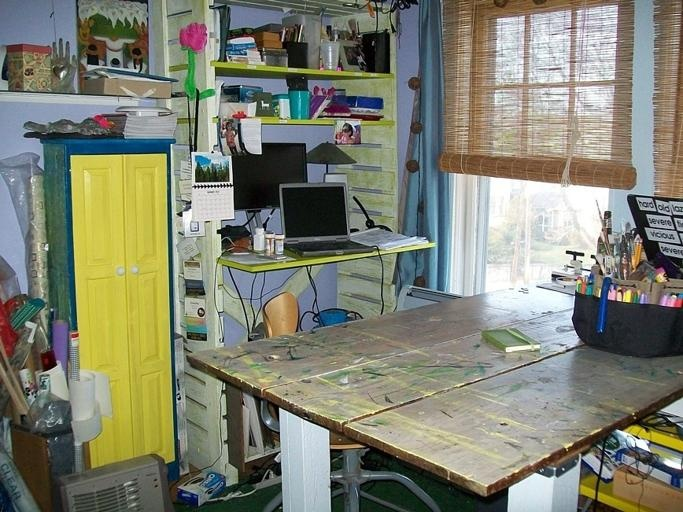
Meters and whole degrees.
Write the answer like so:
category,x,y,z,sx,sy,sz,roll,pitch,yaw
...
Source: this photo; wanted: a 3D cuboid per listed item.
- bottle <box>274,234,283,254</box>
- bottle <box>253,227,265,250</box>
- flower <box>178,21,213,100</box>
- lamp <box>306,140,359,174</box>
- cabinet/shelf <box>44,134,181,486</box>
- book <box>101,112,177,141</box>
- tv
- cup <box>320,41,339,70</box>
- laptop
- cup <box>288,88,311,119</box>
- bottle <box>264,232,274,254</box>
category,x,y,z,sx,sy,sz,roll,pitch,yaw
bottle,-0.372,-0.065,3.146,0.054,0.114,0.049,-5,16,-18
bottle,-0.501,-0.101,3.231,0.070,0.135,0.089,-3,15,-12
flower,-0.777,-1.037,2.832,0.216,0.394,0.091,13,20,41
lamp,-0.086,-0.687,3.676,0.227,0.177,0.228,12,18,36
cabinet/shelf,-1.098,0.342,2.811,0.576,1.874,0.356,-6,17,-22
book,-1.027,-0.673,2.747,0.342,0.140,0.169,-5,15,-20
tv,-0.481,-0.495,3.378,0.536,0.327,0.022,-9,12,-43
cup,-0.058,-1.297,3.452,0.089,0.180,0.174,11,18,35
laptop,-0.123,-0.248,3.442,0.660,0.452,0.515,-6,12,-32
cup,-0.271,-0.950,3.345,0.118,0.180,0.257,3,14,10
bottle,-0.426,-0.071,3.172,0.059,0.110,0.104,-2,15,-8
